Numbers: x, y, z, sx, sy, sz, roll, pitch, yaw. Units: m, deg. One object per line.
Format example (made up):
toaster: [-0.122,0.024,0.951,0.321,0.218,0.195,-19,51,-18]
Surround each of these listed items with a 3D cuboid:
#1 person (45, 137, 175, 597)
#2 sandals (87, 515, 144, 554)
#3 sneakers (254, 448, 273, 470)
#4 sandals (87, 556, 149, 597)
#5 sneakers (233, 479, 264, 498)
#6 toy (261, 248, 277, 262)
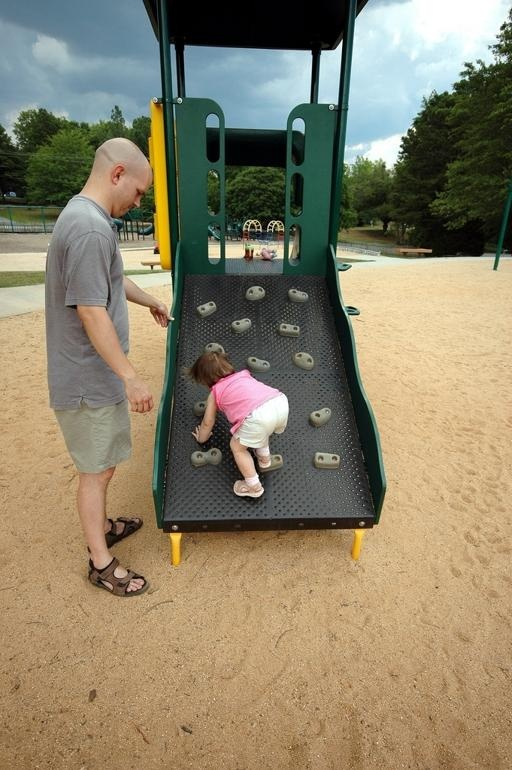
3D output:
person: [-0.610,0.061,2.091,0.453,1.928,0.514,-4,21,-12]
sandals: [-0.779,0.785,2.831,0.095,0.119,0.293,16,29,26]
sneakers: [0.073,0.368,2.602,0.057,0.068,0.148,-4,35,-3]
sandals: [-0.641,0.902,2.462,0.295,0.141,0.141,9,25,16]
sneakers: [-0.009,0.497,2.526,0.132,0.078,0.059,5,11,20]
toy: [0.186,-1.308,5.363,0.165,0.096,0.266,1,29,-9]
